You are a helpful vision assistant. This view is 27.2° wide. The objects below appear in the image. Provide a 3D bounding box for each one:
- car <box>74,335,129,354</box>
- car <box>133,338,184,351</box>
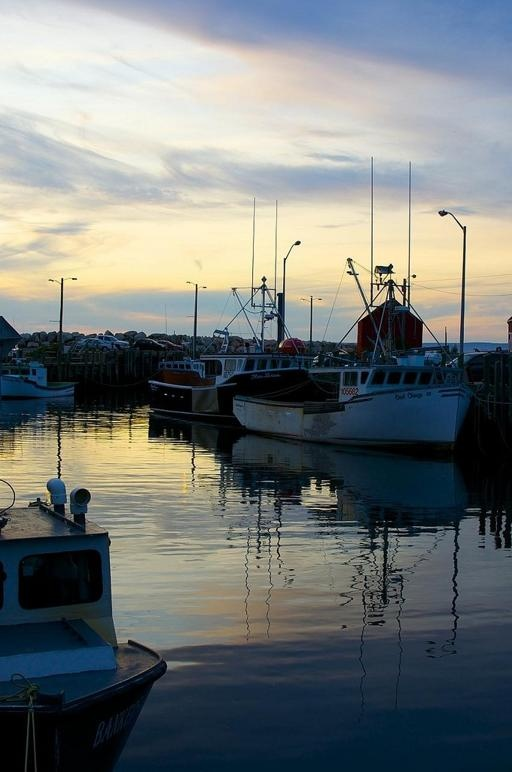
[{"bbox_3d":[-14.465,-3.378,96.082,5.406,1.613,2.348,-1,7,5],"label":"car"},{"bbox_3d":[-9.237,-3.414,99.507,4.390,1.343,1.967,-2,9,0],"label":"car"}]
